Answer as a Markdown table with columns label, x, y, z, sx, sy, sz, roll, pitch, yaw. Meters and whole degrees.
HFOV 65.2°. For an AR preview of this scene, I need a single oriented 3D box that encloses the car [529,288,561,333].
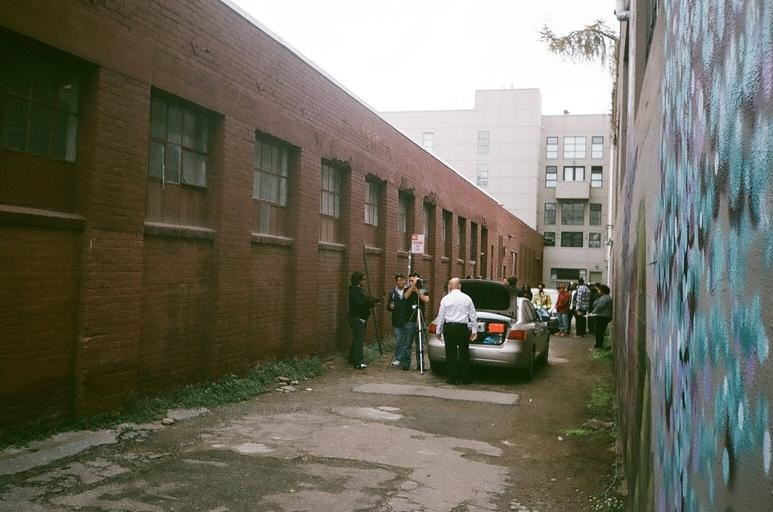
| label | x | y | z | sx | sy | sz | roll | pitch | yaw |
| --- | --- | --- | --- | --- | --- | --- | --- | --- | --- |
| car | 6.698 | 2.227 | 25.049 | 1.322 | 1.084 | 3.198 | -2 | -6 | 13 |

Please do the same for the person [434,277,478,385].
| label | x | y | z | sx | sy | sz | roll | pitch | yaw |
| --- | --- | --- | --- | --- | --- | --- | --- | --- | --- |
| person | 1.424 | 1.502 | 12.189 | 0.806 | 2.085 | 0.372 | 0 | -2 | 2 |

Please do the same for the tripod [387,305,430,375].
| label | x | y | z | sx | sy | sz | roll | pitch | yaw |
| --- | --- | --- | --- | --- | --- | --- | --- | --- | --- |
| tripod | 0.575 | 1.861 | 14.150 | 0.852 | 1.499 | 2.038 | 0 | -3 | 2 |

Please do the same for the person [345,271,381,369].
| label | x | y | z | sx | sy | sz | roll | pitch | yaw |
| --- | --- | --- | --- | --- | --- | --- | --- | --- | --- |
| person | -0.576 | 1.437 | 13.761 | 0.589 | 2.148 | 0.737 | 0 | -2 | -3 |
